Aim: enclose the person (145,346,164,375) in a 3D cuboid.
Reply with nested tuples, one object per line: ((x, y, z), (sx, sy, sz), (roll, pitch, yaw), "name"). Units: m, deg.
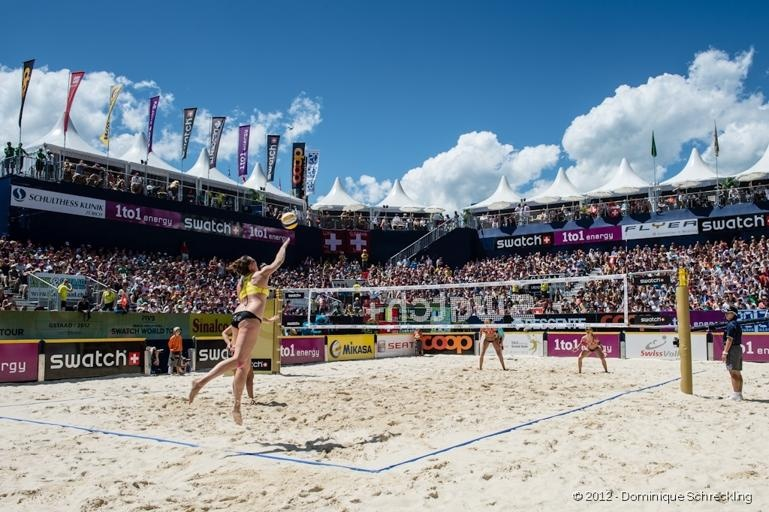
((-6.847, 3.072, 27.526), (0.618, 0.758, 0.410), (-7, 12, -30), "person")

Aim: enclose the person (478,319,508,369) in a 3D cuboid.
((3.021, 2.492, 26.447), (0.782, 1.599, 0.678), (0, 21, 8), "person")

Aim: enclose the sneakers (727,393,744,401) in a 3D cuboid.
((8.461, 3.400, 22.476), (0.146, 0.203, 0.451), (2, -3, -2), "sneakers")

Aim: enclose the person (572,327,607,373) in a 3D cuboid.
((5.807, 2.641, 26.124), (0.778, 1.384, 0.687), (-5, 3, -1), "person")

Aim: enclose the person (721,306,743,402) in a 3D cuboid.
((8.486, 2.363, 22.597), (0.483, 2.195, 0.920), (3, 11, 22), "person")

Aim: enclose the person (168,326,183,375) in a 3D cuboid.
((-6.169, 2.814, 27.460), (0.432, 1.296, 0.330), (2, -3, -45), "person")
